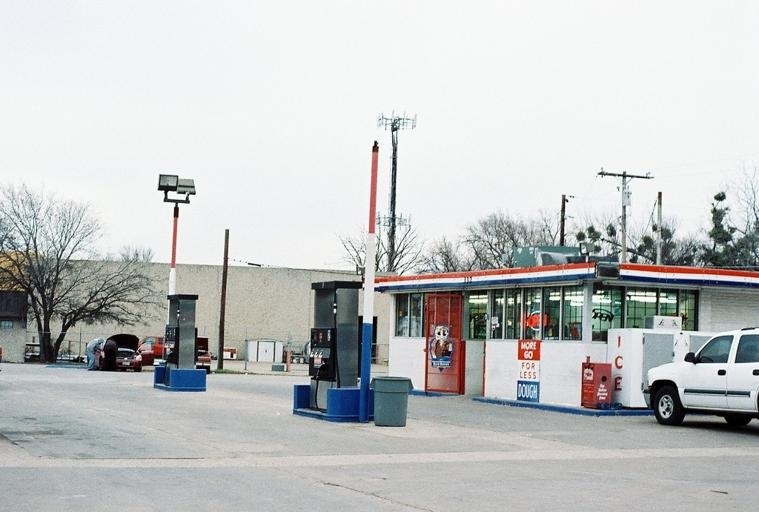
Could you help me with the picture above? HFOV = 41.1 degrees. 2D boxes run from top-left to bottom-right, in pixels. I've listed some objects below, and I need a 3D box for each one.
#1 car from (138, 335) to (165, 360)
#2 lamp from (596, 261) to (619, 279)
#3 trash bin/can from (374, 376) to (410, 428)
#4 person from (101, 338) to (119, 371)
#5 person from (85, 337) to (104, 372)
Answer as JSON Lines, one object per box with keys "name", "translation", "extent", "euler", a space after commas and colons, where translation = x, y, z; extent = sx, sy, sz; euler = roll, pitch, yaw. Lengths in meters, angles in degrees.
{"name": "car", "translation": [-13.603, 5.433, 60.499], "extent": [1.599, 1.612, 2.802], "euler": [3, 12, -17]}
{"name": "lamp", "translation": [7.438, 0.457, 33.030], "extent": [0.793, 0.471, 0.562], "euler": [1, 1, 4]}
{"name": "trash bin/can", "translation": [0.293, 3.961, 27.831], "extent": [0.964, 1.342, 0.531], "euler": [2, -7, -2]}
{"name": "person", "translation": [-13.914, 5.075, 52.072], "extent": [0.359, 1.398, 0.825], "euler": [2, -6, 4]}
{"name": "person", "translation": [-14.800, 5.028, 52.791], "extent": [0.802, 1.623, 1.445], "euler": [4, -7, -18]}
